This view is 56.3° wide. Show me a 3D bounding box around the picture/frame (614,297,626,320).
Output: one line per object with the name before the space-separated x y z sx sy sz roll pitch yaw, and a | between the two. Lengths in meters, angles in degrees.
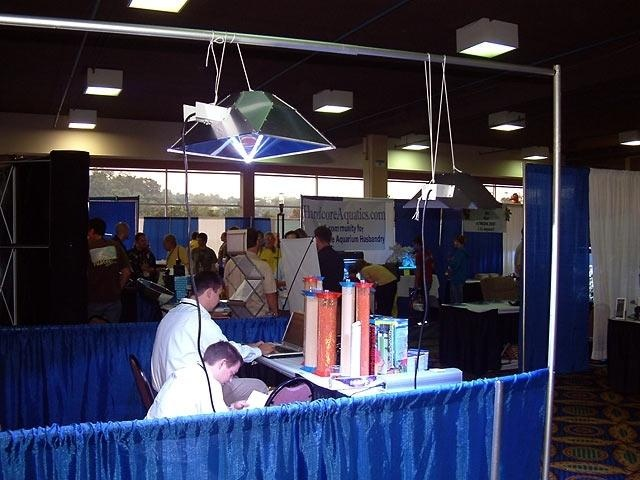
picture/frame | 3.406 0.765 6.774 0.102 0.213 0.128 0 2 22

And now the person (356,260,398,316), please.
person | 0.907 0.763 8.887 0.345 0.812 0.890 1 3 37

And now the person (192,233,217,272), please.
person | -1.936 0.210 10.080 0.404 0.645 0.719 -1 2 -11

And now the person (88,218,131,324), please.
person | -2.335 0.331 6.634 0.452 1.139 0.339 -2 2 -27

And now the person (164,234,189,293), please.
person | -2.041 0.328 8.489 0.375 1.216 0.515 2 -6 -17

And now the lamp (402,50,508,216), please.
lamp | 1.096 -0.919 5.227 0.783 1.405 0.786 -7 -5 12

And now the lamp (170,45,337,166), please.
lamp | -0.446 -0.739 3.875 0.919 1.058 0.840 1 2 42

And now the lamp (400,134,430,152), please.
lamp | 1.973 -1.983 12.238 0.354 0.249 0.355 -3 4 -32

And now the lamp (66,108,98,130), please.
lamp | -4.066 -2.046 10.286 0.352 0.256 0.373 -1 1 -18

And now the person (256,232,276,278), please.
person | -0.755 0.275 9.497 0.338 0.196 0.831 -8 -39 -13

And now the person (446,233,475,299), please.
person | 2.331 0.501 10.082 0.333 1.168 1.084 0 2 12

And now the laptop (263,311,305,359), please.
laptop | -0.282 0.712 4.705 0.256 0.226 0.337 1 -3 -22

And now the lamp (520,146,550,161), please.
lamp | 4.916 -1.926 13.417 0.389 0.275 0.392 -2 1 -36
